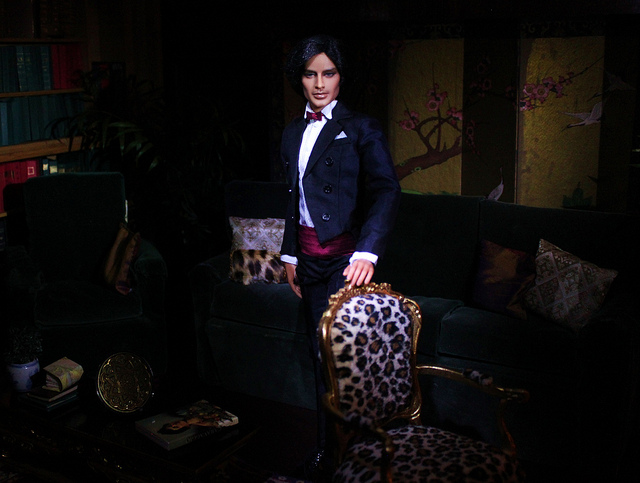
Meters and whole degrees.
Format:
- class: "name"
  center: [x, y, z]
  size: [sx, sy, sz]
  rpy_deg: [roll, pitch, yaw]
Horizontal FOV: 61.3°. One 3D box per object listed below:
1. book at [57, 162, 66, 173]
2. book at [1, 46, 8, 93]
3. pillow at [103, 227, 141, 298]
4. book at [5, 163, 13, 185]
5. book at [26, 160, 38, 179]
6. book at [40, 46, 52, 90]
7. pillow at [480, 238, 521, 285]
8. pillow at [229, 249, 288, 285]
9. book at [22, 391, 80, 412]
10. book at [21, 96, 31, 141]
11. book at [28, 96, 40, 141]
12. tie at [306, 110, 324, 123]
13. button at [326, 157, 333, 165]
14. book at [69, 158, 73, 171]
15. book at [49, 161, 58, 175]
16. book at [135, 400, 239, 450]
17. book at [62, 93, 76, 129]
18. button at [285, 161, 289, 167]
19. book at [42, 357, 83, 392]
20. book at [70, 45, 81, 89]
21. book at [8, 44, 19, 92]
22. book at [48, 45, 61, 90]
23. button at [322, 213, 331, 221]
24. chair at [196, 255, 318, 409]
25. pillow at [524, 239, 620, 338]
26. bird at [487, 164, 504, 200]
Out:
- class: "book"
  center: [-2.143, -0.617, 4.471]
  size: [0.068, 0.128, 0.070]
  rpy_deg: [-1, 2, -34]
- class: "book"
  center: [-2.293, -1.249, 3.914]
  size: [0.017, 0.306, 0.042]
  rpy_deg: [8, 12, 25]
- class: "pillow"
  center: [-1.273, 0.130, 3.457]
  size: [0.119, 0.379, 0.273]
  rpy_deg: [12, 15, -34]
- class: "book"
  center: [-2.349, -0.517, 4.071]
  size: [0.012, 0.154, 0.054]
  rpy_deg: [10, 13, 30]
- class: "book"
  center: [-2.241, -0.579, 4.215]
  size: [0.043, 0.119, 0.093]
  rpy_deg: [7, 12, 18]
- class: "book"
  center: [-2.151, -1.365, 4.241]
  size: [0.044, 0.327, 0.063]
  rpy_deg: [-2, 25, -20]
- class: "pillow"
  center: [0.992, 0.117, 3.009]
  size: [0.201, 0.214, 0.083]
  rpy_deg: [18, -5, 27]
- class: "pillow"
  center: [-0.383, 0.151, 3.340]
  size: [0.346, 0.199, 0.113]
  rpy_deg: [2, 11, -10]
- class: "book"
  center: [-1.279, 0.744, 2.515]
  size: [0.110, 0.024, 0.111]
  rpy_deg: [6, 11, 30]
- class: "book"
  center: [-2.246, -0.939, 4.120]
  size: [0.015, 0.327, 0.063]
  rpy_deg: [6, 11, 17]
- class: "book"
  center: [-2.219, -0.945, 4.185]
  size: [0.083, 0.420, 0.037]
  rpy_deg: [-2, -24, -20]
- class: "tie"
  center: [-0.030, -0.567, 2.419]
  size: [0.049, 0.018, 0.049]
  rpy_deg: [-36, 53, -21]
- class: "button"
  center: [0.039, -0.358, 2.375]
  size: [0.028, 0.033, 0.013]
  rpy_deg: [3, 11, -3]
- class: "book"
  center: [-2.096, -0.652, 4.538]
  size: [0.008, 0.104, 0.032]
  rpy_deg: [6, 11, 15]
- class: "book"
  center: [-2.170, -0.610, 4.387]
  size: [0.049, 0.089, 0.092]
  rpy_deg: [0, 12, -16]
- class: "book"
  center: [-0.563, 0.782, 2.326]
  size: [0.221, 0.041, 0.189]
  rpy_deg: [-7, 14, -39]
- class: "book"
  center: [-2.036, -1.117, 4.391]
  size: [0.034, 0.180, 0.099]
  rpy_deg: [9, 12, 28]
- class: "button"
  center: [-0.159, -0.377, 2.583]
  size: [0.005, 0.017, 0.017]
  rpy_deg: [4, -4, -37]
- class: "book"
  center: [-1.245, 0.630, 2.607]
  size: [0.131, 0.071, 0.166]
  rpy_deg: [17, 13, 7]
- class: "book"
  center: [-2.013, -1.460, 4.426]
  size: [0.108, 0.032, 0.439]
  rpy_deg: [-7, 56, -16]
- class: "book"
  center: [-2.257, -1.275, 3.976]
  size: [0.029, 0.316, 0.086]
  rpy_deg: [6, 11, 12]
- class: "book"
  center: [-2.103, -1.387, 4.308]
  size: [0.071, 0.321, 0.031]
  rpy_deg: [-5, 20, -27]
- class: "button"
  center: [0.024, -0.111, 2.398]
  size: [0.032, 0.034, 0.005]
  rpy_deg: [4, 11, 1]
- class: "chair"
  center: [-0.421, 0.450, 3.541]
  size: [0.515, 0.917, 0.935]
  rpy_deg: [-1, 7, -15]
- class: "pillow"
  center: [1.306, 0.238, 2.843]
  size: [0.391, 0.422, 0.183]
  rpy_deg: [14, 15, 41]
- class: "bird"
  center: [1.223, -0.419, 3.742]
  size: [0.097, 0.240, 0.031]
  rpy_deg: [7, 11, 18]
